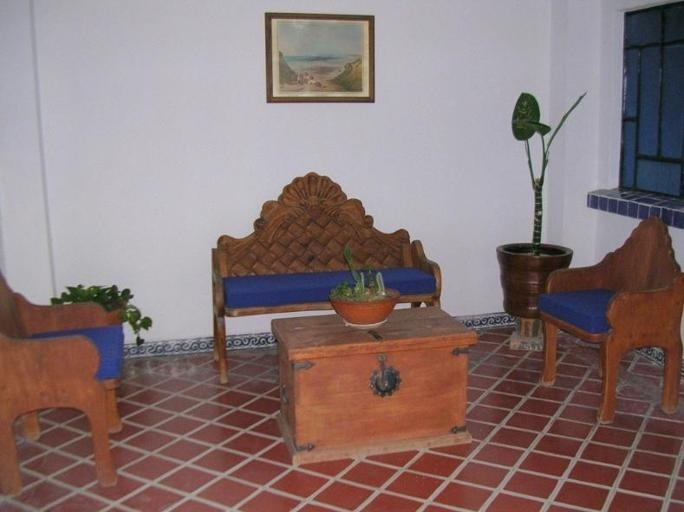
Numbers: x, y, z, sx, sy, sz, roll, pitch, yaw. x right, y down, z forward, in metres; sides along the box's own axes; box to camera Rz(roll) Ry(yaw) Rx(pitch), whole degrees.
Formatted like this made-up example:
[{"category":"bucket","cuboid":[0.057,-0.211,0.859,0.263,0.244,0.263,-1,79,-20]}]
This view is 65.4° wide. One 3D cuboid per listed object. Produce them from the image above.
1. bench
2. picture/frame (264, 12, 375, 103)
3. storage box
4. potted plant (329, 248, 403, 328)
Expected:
[{"category":"bench","cuboid":[-0.174,0.184,5.058,2.153,1.587,0.805,-5,19,-19]},{"category":"picture/frame","cuboid":[-0.254,-1.920,5.066,0.908,0.669,0.033,-1,10,-10]},{"category":"storage box","cuboid":[0.209,0.884,3.861,1.334,0.775,0.807,-2,8,-13]},{"category":"potted plant","cuboid":[0.166,0.205,3.752,0.458,0.561,0.450,-10,15,-43]}]
